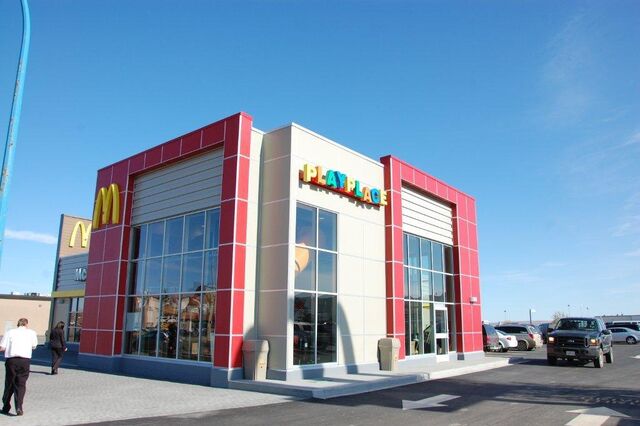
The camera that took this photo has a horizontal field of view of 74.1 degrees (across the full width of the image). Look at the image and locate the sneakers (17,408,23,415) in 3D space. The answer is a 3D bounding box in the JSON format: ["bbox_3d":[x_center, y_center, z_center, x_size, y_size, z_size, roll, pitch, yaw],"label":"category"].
[{"bbox_3d":[-8.977,5.936,12.623,0.178,0.190,0.205,8,-14,-33],"label":"sneakers"}]

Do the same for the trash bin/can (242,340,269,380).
[{"bbox_3d":[-2.688,6.003,17.354,1.007,1.538,0.534,2,-12,-9],"label":"trash bin/can"}]

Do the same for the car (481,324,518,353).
[{"bbox_3d":[14.536,10.204,34.467,1.278,2.187,4.019,-11,-16,44],"label":"car"}]
